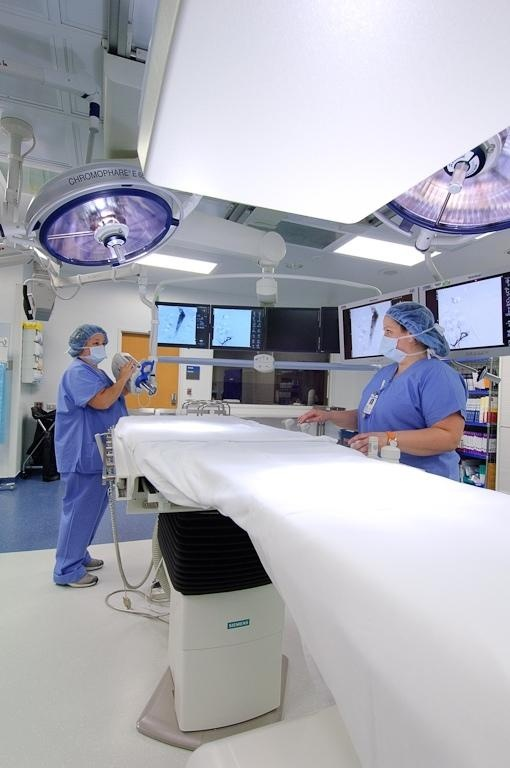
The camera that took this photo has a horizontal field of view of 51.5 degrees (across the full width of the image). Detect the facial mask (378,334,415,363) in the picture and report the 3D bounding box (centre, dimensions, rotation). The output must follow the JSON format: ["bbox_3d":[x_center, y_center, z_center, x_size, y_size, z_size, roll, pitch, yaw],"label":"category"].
[{"bbox_3d":[0.474,-0.116,1.768,0.088,0.058,0.074,5,8,2],"label":"facial mask"}]

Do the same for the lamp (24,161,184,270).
[{"bbox_3d":[-0.306,-0.326,1.123,0.274,0.147,0.277,-26,-16,24],"label":"lamp"}]

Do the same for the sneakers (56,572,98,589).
[{"bbox_3d":[-0.785,0.852,2.328,0.152,0.064,0.060,-1,0,-7],"label":"sneakers"}]

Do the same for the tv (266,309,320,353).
[{"bbox_3d":[0.187,-0.284,2.704,0.219,0.178,0.022,-2,9,-16],"label":"tv"}]

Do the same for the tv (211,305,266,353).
[{"bbox_3d":[-0.083,-0.280,2.614,0.229,0.168,0.024,2,-3,-18],"label":"tv"}]

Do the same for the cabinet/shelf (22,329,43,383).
[{"bbox_3d":[-2.030,-0.259,4.763,0.157,0.471,0.496,0,-2,-12],"label":"cabinet/shelf"}]

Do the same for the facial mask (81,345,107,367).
[{"bbox_3d":[-0.799,-0.139,2.593,0.101,0.082,0.100,-10,2,6],"label":"facial mask"}]

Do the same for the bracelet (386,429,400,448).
[{"bbox_3d":[0.366,0.144,1.397,0.024,0.032,0.036,13,-41,14],"label":"bracelet"}]
